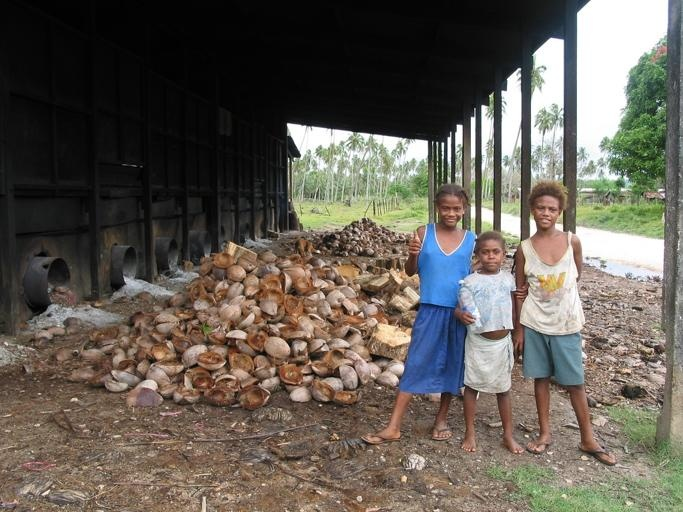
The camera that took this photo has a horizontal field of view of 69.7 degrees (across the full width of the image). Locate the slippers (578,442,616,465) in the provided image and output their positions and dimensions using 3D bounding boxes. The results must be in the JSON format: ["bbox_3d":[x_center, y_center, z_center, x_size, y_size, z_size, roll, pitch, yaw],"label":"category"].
[{"bbox_3d":[1.831,1.306,3.288,0.182,0.054,0.095,15,29,41],"label":"slippers"}]

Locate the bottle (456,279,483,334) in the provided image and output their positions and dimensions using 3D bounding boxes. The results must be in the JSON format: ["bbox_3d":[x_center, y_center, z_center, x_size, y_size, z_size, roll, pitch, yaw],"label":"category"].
[{"bbox_3d":[0.890,0.320,3.286,0.121,0.425,0.130,-12,-32,-8],"label":"bottle"}]

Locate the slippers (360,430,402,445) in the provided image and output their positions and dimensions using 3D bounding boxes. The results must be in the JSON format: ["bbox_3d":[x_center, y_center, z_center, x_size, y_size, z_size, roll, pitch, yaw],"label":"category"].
[{"bbox_3d":[0.244,1.256,3.479,0.227,0.068,0.117,4,-4,-14],"label":"slippers"}]

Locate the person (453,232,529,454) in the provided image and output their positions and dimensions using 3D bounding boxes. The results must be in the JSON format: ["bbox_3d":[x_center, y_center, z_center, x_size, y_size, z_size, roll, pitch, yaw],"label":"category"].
[{"bbox_3d":[1.069,0.567,3.371,0.545,1.491,0.397,2,12,8],"label":"person"}]
